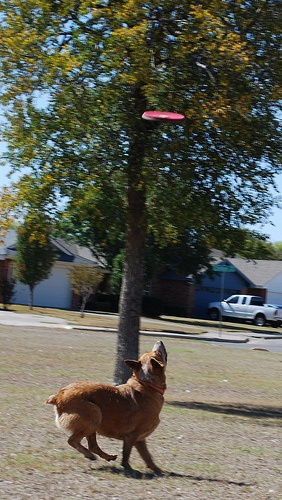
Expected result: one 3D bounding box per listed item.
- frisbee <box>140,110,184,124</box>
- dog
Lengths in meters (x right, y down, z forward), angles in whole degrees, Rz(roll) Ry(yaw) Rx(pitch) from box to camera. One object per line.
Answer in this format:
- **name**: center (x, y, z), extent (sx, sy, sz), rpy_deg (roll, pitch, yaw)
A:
- **frisbee**: center (0.252, -1.525, 6.340), extent (0.306, 0.074, 0.202), rpy_deg (7, 15, -6)
- **dog**: center (-0.198, 1.252, 4.411), extent (1.126, 0.872, 0.430), rpy_deg (5, -19, -10)
